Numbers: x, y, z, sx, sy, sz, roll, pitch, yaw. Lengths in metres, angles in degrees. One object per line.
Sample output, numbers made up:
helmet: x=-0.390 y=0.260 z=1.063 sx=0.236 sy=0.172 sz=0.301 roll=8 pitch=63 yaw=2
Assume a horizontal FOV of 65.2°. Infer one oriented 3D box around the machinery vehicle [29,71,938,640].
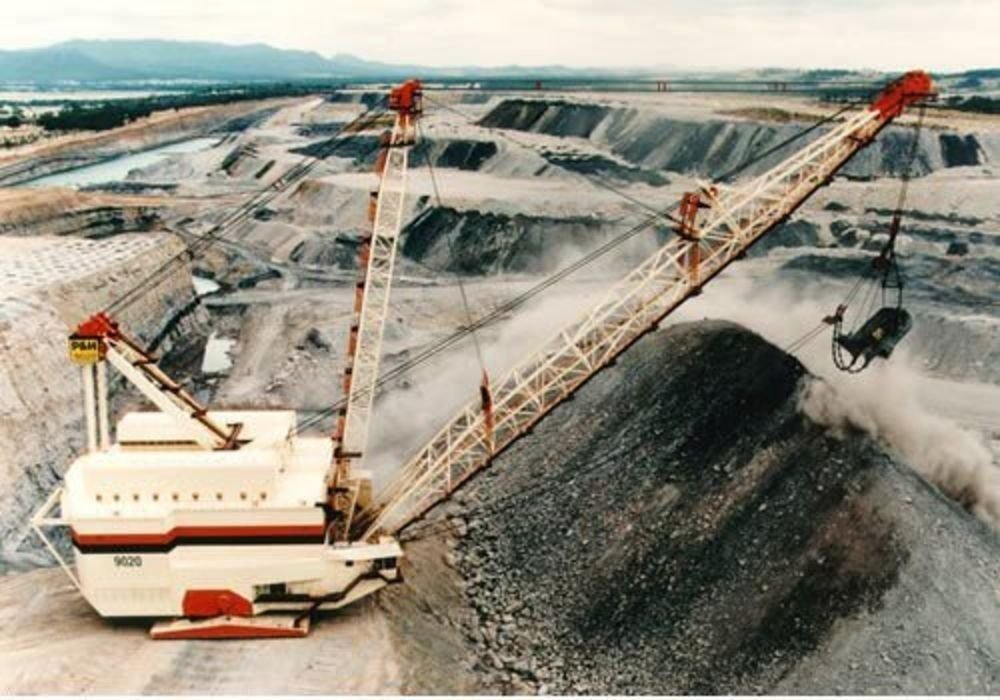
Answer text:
machinery vehicle: x=-1.890 y=1.225 z=30.655 sx=34.163 sy=17.444 sz=9.323 roll=-6 pitch=4 yaw=16
